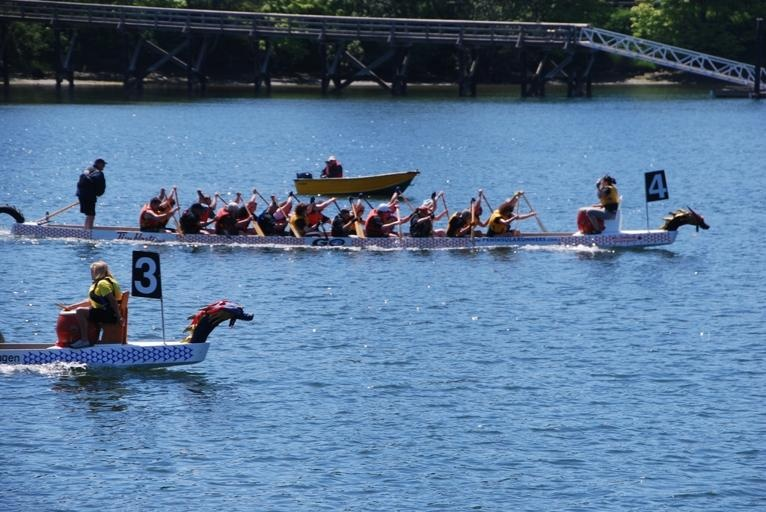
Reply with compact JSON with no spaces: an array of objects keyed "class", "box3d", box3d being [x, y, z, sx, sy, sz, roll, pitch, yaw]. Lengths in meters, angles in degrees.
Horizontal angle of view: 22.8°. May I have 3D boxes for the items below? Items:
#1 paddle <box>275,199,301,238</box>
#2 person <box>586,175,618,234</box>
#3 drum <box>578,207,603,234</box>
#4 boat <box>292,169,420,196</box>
[{"class":"paddle","box3d":[-5.384,-2.212,109.808,0.990,2.760,0.440,6,-11,18]},{"class":"person","box3d":[12.630,-2.909,108.369,1.724,3.256,1.144,3,5,5]},{"class":"drum","box3d":[12.126,-2.081,108.926,1.748,1.412,1.183,-1,17,-3]},{"class":"boat","box3d":[-1.562,-5.232,120.528,7.917,1.748,1.933,-2,-7,-2]}]
